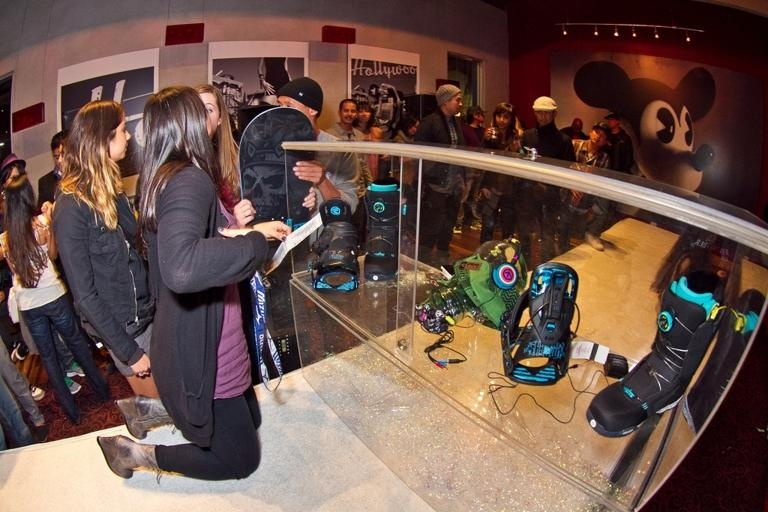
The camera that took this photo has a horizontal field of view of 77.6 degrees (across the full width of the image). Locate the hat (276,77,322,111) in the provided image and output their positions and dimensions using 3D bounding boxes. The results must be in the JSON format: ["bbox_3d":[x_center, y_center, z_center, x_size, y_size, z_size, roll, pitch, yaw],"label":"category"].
[{"bbox_3d":[-0.500,-0.975,2.846,0.243,0.192,0.176,11,26,-23],"label":"hat"}]

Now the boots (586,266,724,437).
[{"bbox_3d":[0.991,0.363,1.723,0.620,0.443,0.190,-21,32,-18],"label":"boots"}]

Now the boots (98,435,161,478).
[{"bbox_3d":[-1.256,0.948,2.355,0.302,0.227,0.135,6,32,-5],"label":"boots"}]

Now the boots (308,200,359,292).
[{"bbox_3d":[-0.256,-0.058,2.526,0.286,0.168,0.462,4,57,-11],"label":"boots"}]

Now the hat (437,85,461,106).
[{"bbox_3d":[0.544,-1.332,3.996,0.180,0.147,0.177,-4,27,9],"label":"hat"}]
